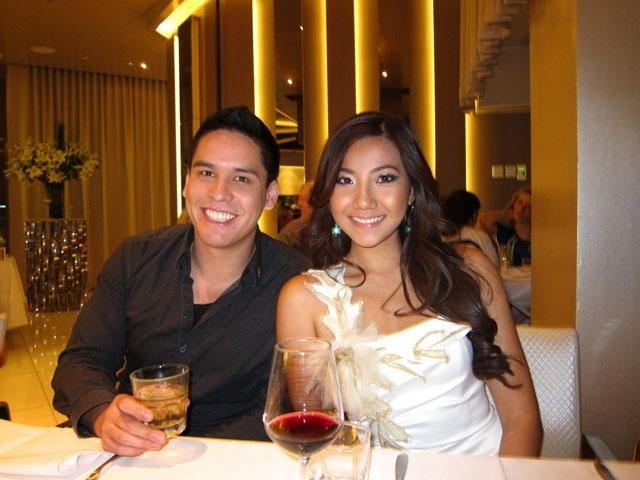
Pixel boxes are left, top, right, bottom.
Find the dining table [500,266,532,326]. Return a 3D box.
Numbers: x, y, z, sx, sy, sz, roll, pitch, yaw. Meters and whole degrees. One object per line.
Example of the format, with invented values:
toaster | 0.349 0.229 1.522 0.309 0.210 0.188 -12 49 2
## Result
dining table | 1.458 0.412 4.166 0.193 0.486 0.453 -7 4 13
